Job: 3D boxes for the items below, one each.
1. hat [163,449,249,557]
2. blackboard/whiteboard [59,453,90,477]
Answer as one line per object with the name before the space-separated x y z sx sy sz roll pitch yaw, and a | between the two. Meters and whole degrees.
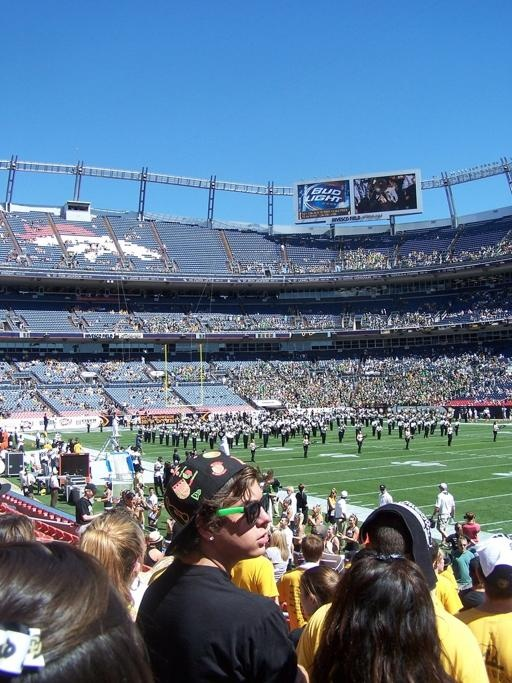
hat | -0.277 0.553 2.423 0.231 0.425 0.292 2 19 -35
blackboard/whiteboard | -5.797 3.935 19.903 1.031 0.822 0.684 1 -3 -3
